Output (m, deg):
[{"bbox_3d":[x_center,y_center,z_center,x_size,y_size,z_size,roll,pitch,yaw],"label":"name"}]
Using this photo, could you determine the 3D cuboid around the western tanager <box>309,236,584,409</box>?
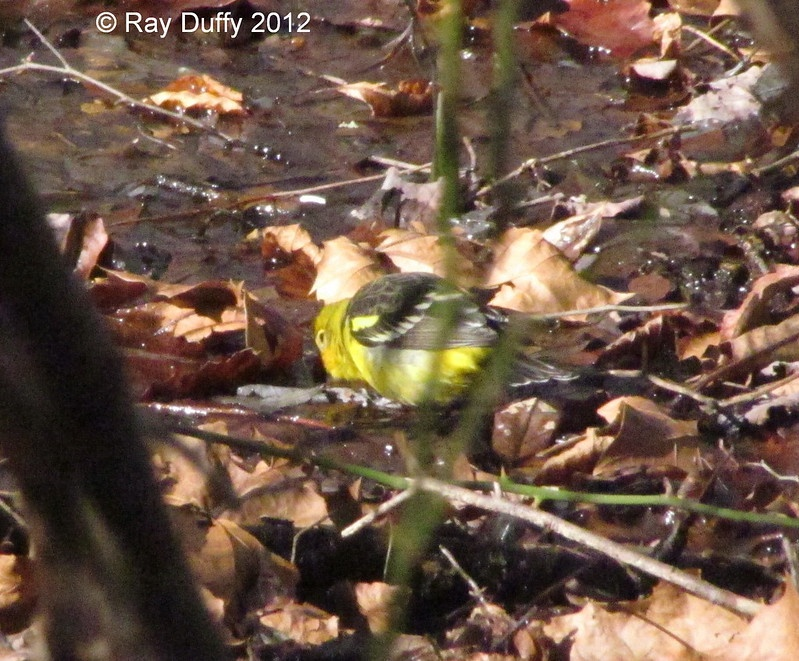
[{"bbox_3d":[0.119,-0.005,4.383,0.643,0.561,0.915,-12,33,-26],"label":"western tanager"}]
